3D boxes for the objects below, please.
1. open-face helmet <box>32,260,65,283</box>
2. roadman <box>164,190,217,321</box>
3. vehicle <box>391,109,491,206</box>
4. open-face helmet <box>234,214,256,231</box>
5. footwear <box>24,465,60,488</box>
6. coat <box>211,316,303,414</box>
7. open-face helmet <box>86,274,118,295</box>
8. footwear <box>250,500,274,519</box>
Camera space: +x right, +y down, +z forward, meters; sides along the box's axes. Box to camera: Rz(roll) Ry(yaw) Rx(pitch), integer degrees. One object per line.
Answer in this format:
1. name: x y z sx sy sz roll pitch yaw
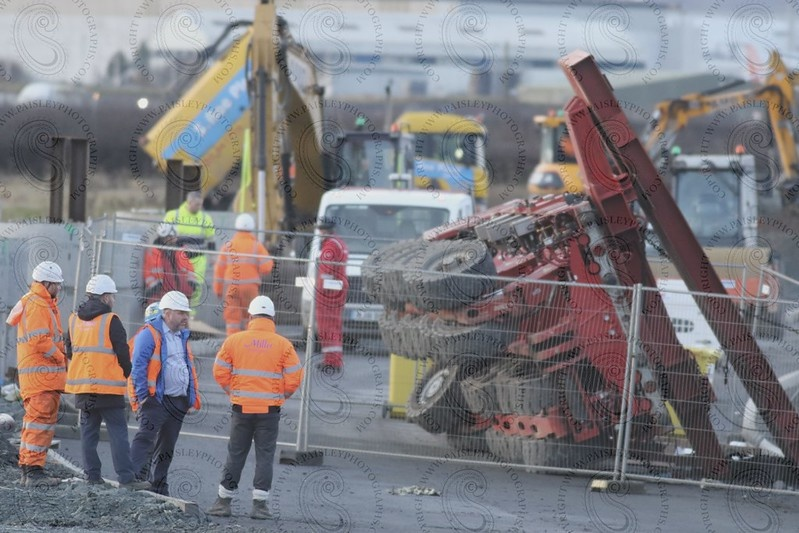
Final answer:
1. open-face helmet: -6.161 0.019 39.871 0.501 0.284 0.347 -1 11 -10
2. roadman: -4.118 -0.048 44.335 1.211 3.042 1.036 1 3 18
3. vehicle: 0.985 -2.569 51.207 2.766 2.282 1.836 0 10 0
4. open-face helmet: -3.002 -0.923 44.087 0.374 0.367 0.407 0 6 -3
5. footwear: -6.223 3.629 39.470 0.629 0.338 0.288 3 6 -9
6. coat: -2.458 1.710 39.612 1.796 1.595 0.842 2 7 0
7. open-face helmet: -5.233 0.287 39.755 0.474 0.246 0.329 -1 1 29
8. footwear: -2.376 4.143 39.084 0.351 0.334 0.260 4 6 -5
